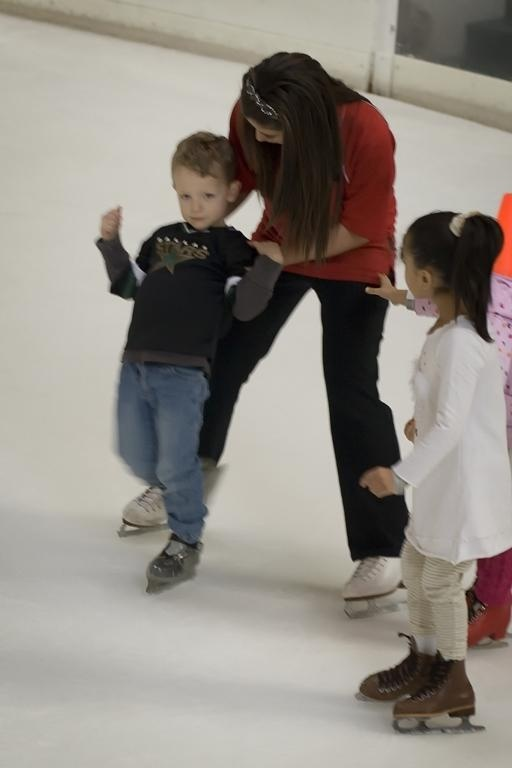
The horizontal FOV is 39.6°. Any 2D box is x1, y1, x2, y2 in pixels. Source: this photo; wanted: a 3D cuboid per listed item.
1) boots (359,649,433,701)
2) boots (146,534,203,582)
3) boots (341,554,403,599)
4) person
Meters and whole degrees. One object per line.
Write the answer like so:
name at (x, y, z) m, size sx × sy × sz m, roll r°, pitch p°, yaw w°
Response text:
boots at (0.231, 0.484, 1.173) m, size 0.145 × 0.042 × 0.091 m, roll -11°, pitch -19°, yaw 8°
boots at (-0.170, 0.388, 1.573) m, size 0.074 × 0.052 × 0.132 m, roll 18°, pitch 33°, yaw 30°
boots at (0.251, 0.413, 1.519) m, size 0.062 × 0.059 × 0.165 m, roll -22°, pitch -16°, yaw 34°
person at (0.173, -0.071, 1.395) m, size 0.498 × 1.091 × 0.902 m, roll -10°, pitch 18°, yaw -43°
